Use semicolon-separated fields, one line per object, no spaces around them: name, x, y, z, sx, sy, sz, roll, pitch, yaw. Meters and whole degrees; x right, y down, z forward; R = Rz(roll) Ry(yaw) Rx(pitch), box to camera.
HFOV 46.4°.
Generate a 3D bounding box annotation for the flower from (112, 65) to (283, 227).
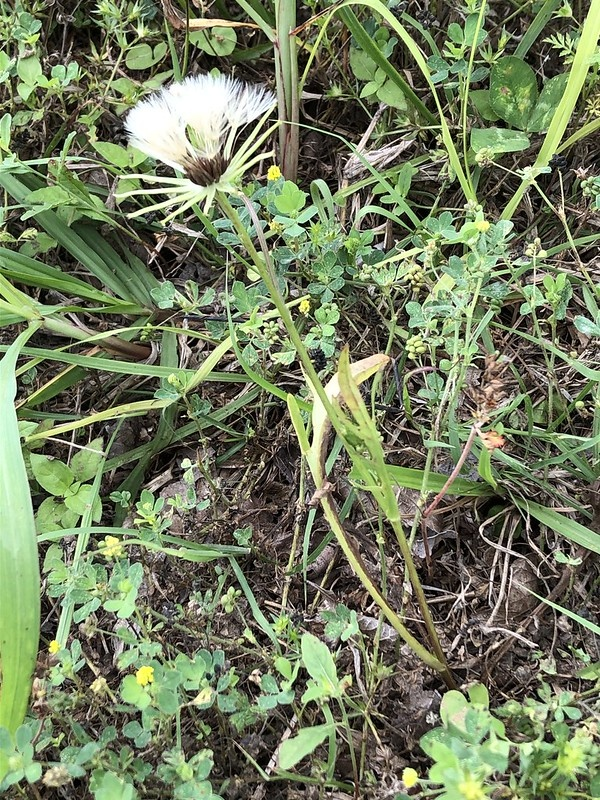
flower;-0.151;-0.374;0.989;0.218;0.096;0.357;4;52;-3
